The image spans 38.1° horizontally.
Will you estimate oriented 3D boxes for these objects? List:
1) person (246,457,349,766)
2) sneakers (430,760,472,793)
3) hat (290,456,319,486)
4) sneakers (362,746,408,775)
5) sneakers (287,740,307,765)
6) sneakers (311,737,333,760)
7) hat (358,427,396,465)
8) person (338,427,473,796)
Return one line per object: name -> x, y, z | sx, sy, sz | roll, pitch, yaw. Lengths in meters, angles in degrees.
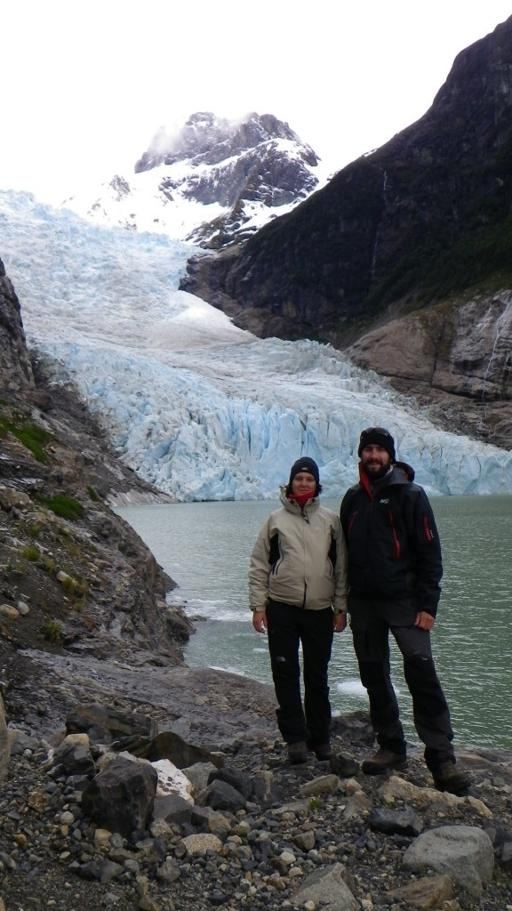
person -> 0.267, 0.973, 4.760 | 0.672, 1.939, 0.375 | 7, 0, 0
sneakers -> 1.073, 1.795, 4.105 | 0.205, 0.180, 0.186 | 7, 0, 19
hat -> 0.314, 0.102, 4.802 | 0.151, 0.177, 0.204 | 6, -11, 4
sneakers -> 0.757, 1.824, 4.401 | 0.275, 0.136, 0.109 | 12, -26, -36
sneakers -> 0.258, 1.869, 4.632 | 0.120, 0.138, 0.119 | 8, 0, 2
sneakers -> 0.422, 1.859, 4.753 | 0.093, 0.124, 0.154 | -7, 13, -11
hat -> 0.744, -0.077, 4.532 | 0.197, 0.195, 0.224 | 5, -18, 15
person -> 0.853, 0.875, 4.399 | 0.909, 2.110, 0.451 | 7, 0, 20
